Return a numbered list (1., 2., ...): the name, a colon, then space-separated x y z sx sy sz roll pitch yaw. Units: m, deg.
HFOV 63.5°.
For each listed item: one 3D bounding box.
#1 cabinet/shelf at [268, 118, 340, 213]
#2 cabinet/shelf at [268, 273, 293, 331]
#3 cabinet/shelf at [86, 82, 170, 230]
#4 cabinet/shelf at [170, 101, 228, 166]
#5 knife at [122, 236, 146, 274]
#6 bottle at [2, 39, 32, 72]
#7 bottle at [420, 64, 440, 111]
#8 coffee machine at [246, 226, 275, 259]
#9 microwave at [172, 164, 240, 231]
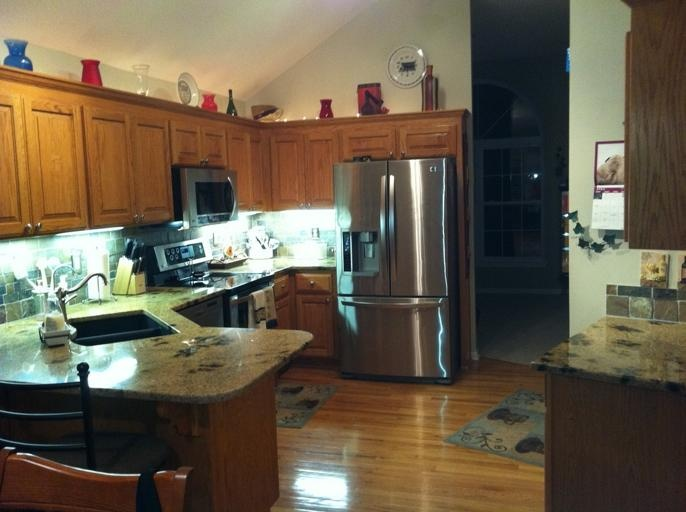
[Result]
1. cabinet/shelf: -0.381 -0.959 5.705 0.979 1.154 0.551 1 5 16
2. cabinet/shelf: -0.677 0.514 5.513 0.252 0.544 0.297 -12 -12 42
3. cabinet/shelf: -1.710 -0.653 4.227 0.351 0.867 0.916 1 8 17
4. cabinet/shelf: -1.351 -1.010 4.918 0.246 0.474 0.771 0 6 25
5. knife: -1.664 -0.017 4.432 0.157 0.302 0.077 0 9 14
6. bottle: -2.023 -1.245 3.440 0.144 0.212 0.327 -6 10 -29
7. bottle: 0.845 -1.640 5.408 0.159 0.500 0.430 0 9 8
8. coffee machine: -0.896 -0.123 6.050 0.229 0.369 0.386 -2 -1 -1
9. microwave: -1.168 -0.528 4.821 0.466 0.558 0.866 1 5 17
